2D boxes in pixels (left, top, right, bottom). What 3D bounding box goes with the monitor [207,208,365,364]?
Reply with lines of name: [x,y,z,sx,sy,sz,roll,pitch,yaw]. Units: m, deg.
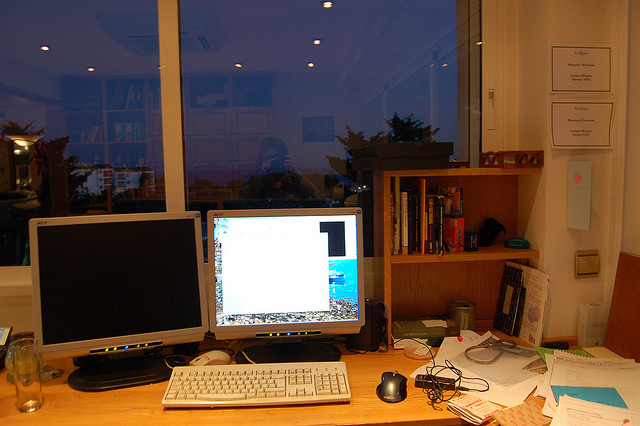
monitor: [-0.168,0.337,2.650,0.768,0.704,0.251,-1,-1,-3]

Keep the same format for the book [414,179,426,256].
book: [0.540,0.019,2.798,0.031,0.398,0.035,-1,4,37]

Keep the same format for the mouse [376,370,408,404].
mouse: [0.342,0.781,2.478,0.152,0.063,0.196,6,27,22]

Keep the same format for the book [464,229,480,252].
book: [0.818,0.143,2.935,0.090,0.153,0.162,-1,1,5]

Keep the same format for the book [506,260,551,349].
book: [1.112,0.495,2.832,0.062,0.471,0.414,6,4,-8]

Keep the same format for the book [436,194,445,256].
book: [0.635,0.061,2.811,0.036,0.316,0.059,-1,4,44]

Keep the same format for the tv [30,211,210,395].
tv: [-0.955,0.424,2.539,0.819,0.815,0.309,-2,-2,-11]

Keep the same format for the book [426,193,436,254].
book: [0.590,0.056,2.810,0.058,0.305,0.019,-4,3,2]

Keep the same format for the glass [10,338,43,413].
glass: [-1.329,0.733,2.440,0.112,0.259,0.171,-6,3,-30]

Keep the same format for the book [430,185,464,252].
book: [0.674,0.037,2.837,0.128,0.319,0.329,-1,2,-4]
